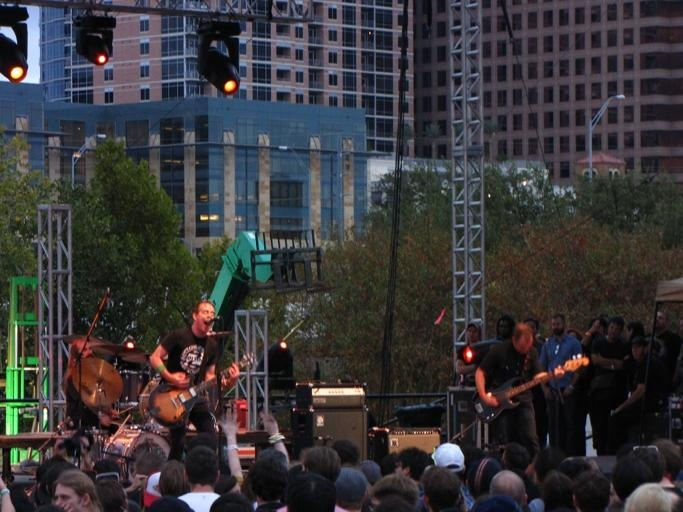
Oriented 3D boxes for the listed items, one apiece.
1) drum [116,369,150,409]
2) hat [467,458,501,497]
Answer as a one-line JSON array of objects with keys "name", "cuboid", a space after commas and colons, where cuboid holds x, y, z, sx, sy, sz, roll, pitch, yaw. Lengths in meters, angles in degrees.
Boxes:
[{"name": "drum", "cuboid": [-7.743, 4.835, 68.446, 1.317, 1.552, 1.383, -3, -12, 0]}, {"name": "hat", "cuboid": [4.344, 6.748, 55.996, 0.941, 1.174, 0.510, -1, -5, 4]}]
